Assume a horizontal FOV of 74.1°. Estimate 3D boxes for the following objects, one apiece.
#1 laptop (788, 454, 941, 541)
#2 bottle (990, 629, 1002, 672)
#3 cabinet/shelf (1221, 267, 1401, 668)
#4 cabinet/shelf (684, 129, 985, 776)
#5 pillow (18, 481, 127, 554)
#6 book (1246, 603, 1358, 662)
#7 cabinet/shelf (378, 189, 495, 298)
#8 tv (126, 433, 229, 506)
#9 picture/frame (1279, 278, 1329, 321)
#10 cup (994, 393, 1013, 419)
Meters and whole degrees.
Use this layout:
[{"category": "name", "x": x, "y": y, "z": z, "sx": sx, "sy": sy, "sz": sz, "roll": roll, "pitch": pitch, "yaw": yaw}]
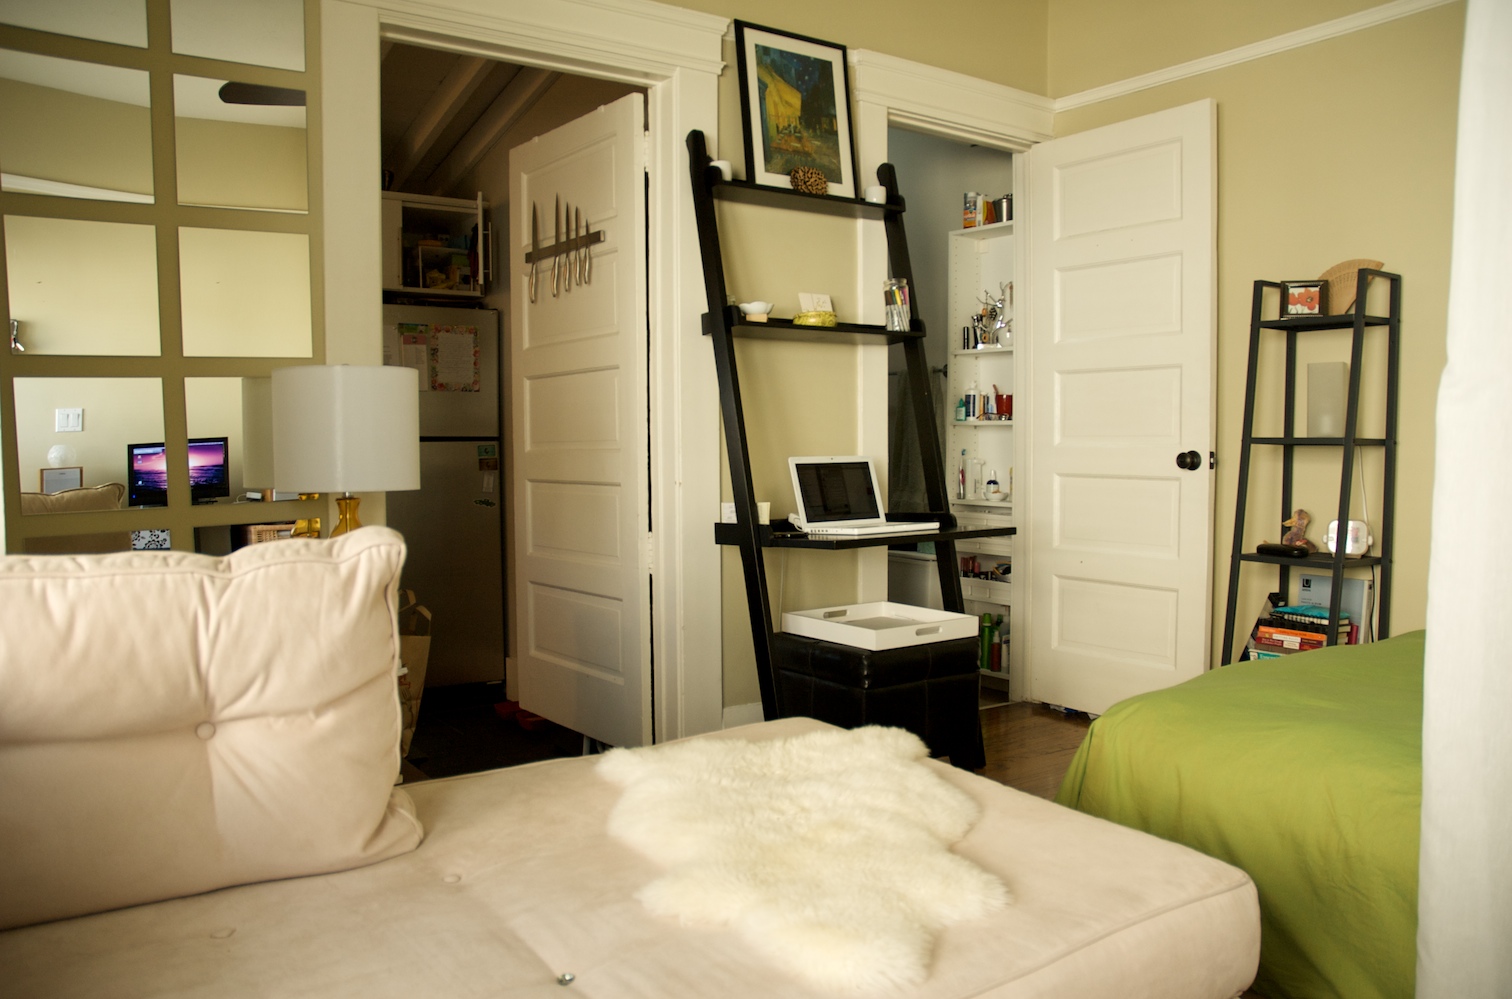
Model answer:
[{"category": "laptop", "x": 0.430, "y": -0.013, "z": 4.122, "sx": 0.538, "sy": 0.305, "sz": 0.422, "roll": -2, "pitch": 4, "yaw": -35}, {"category": "bottle", "x": 1.333, "y": 0.850, "z": 5.560, "sx": 0.068, "sy": 0.212, "sz": 0.063, "roll": 0, "pitch": 13, "yaw": 0}, {"category": "cabinet/shelf", "x": 2.329, "y": -0.079, "z": 4.223, "sx": 0.749, "sy": 1.750, "sz": 0.592, "roll": 12, "pitch": 18, "yaw": 43}, {"category": "cabinet/shelf", "x": 0.471, "y": -0.175, "z": 4.122, "sx": 1.178, "sy": 2.600, "sz": 1.180, "roll": -9, "pitch": 16, "yaw": -31}, {"category": "pillow", "x": -2.089, "y": 0.048, "z": 3.032, "sx": 0.204, "sy": 0.219, "sz": 0.075, "roll": -2, "pitch": 13, "yaw": -27}, {"category": "book", "x": 2.282, "y": 0.553, "z": 4.220, "sx": 0.397, "sy": 0.140, "sz": 0.410, "roll": -2, "pitch": 2, "yaw": -43}, {"category": "cabinet/shelf", "x": -2.005, "y": -1.601, "z": 6.340, "sx": 0.729, "sy": 0.535, "sz": 0.704, "roll": -5, "pitch": 5, "yaw": -15}, {"category": "tv", "x": -1.845, "y": -0.095, "z": 3.162, "sx": 0.226, "sy": 0.179, "sz": 0.081, "roll": 1, "pitch": -4, "yaw": -38}, {"category": "picture/frame", "x": 2.297, "y": -0.834, "z": 4.192, "sx": 0.107, "sy": 0.195, "sz": 0.204, "roll": 3, "pitch": -2, "yaw": -34}, {"category": "cup", "x": 1.431, "y": -0.542, "z": 5.828, "sx": 0.087, "sy": 0.135, "sz": 0.248, "roll": 1, "pitch": 13, "yaw": 8}]
